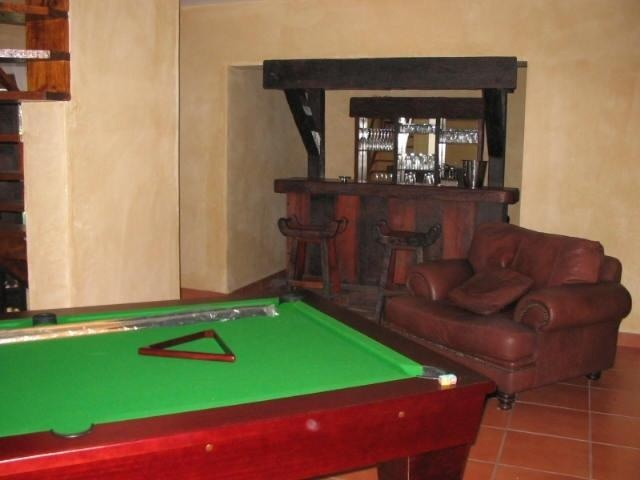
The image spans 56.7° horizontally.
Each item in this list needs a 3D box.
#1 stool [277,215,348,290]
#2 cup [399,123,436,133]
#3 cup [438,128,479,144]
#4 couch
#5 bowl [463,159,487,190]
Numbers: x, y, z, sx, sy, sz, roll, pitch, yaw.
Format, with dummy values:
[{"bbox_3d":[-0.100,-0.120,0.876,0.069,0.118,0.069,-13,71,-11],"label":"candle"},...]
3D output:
[{"bbox_3d":[-0.040,0.111,5.447,0.707,0.793,0.447,2,9,17],"label":"stool"},{"bbox_3d":[1.298,-1.483,7.954,0.457,0.112,0.088,4,14,10],"label":"cup"},{"bbox_3d":[1.794,-1.333,7.693,0.528,0.185,0.181,11,17,35],"label":"cup"},{"bbox_3d":[1.350,0.409,4.183,1.337,1.039,1.368,-3,9,-32],"label":"couch"},{"bbox_3d":[1.339,-0.587,5.280,0.250,0.244,0.244,0,7,0],"label":"bowl"}]
